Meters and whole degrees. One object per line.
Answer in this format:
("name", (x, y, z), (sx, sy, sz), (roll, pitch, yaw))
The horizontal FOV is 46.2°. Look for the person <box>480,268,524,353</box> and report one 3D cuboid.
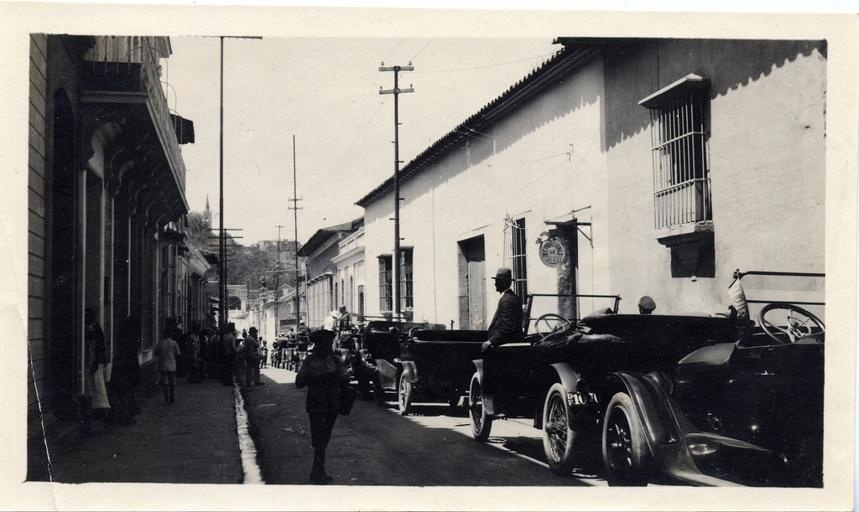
("person", (1.588, 1.140, 21.658), (0.960, 2.768, 1.339), (1, -11, 3))
